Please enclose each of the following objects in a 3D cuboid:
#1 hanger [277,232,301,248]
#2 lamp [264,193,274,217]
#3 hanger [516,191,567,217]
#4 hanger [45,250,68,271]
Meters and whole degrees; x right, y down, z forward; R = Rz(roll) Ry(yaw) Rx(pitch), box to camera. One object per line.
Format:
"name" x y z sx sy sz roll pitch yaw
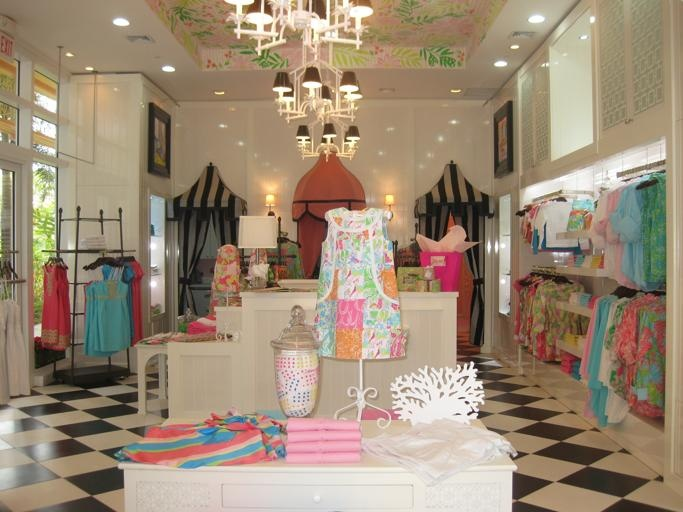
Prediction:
"hanger" -0.832 -0.240 7.935 0.219 0.343 0.123 -9 -1 -19
"lamp" -1.151 -0.847 8.462 0.153 0.340 0.309 -1 5 -9
"hanger" 2.378 -0.615 6.282 0.236 0.303 0.857 0 5 -3
"hanger" -3.479 0.063 6.424 0.052 0.179 0.254 -2 -1 18
